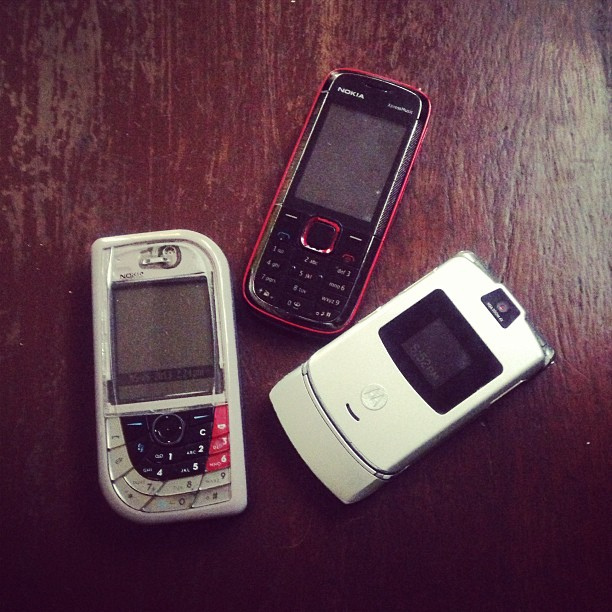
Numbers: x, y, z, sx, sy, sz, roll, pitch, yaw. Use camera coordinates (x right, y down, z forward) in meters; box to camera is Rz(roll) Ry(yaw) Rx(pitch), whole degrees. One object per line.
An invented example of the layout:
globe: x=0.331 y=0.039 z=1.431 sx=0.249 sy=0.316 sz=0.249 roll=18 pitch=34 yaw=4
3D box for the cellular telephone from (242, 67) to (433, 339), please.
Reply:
cellular telephone: x=0.030 y=-0.081 z=0.630 sx=0.121 sy=0.065 sz=0.242 roll=20 pitch=88 yaw=5

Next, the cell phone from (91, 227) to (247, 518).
cell phone: x=-0.107 y=0.052 z=0.547 sx=0.125 sy=0.053 sz=0.209 roll=-4 pitch=88 yaw=-5
